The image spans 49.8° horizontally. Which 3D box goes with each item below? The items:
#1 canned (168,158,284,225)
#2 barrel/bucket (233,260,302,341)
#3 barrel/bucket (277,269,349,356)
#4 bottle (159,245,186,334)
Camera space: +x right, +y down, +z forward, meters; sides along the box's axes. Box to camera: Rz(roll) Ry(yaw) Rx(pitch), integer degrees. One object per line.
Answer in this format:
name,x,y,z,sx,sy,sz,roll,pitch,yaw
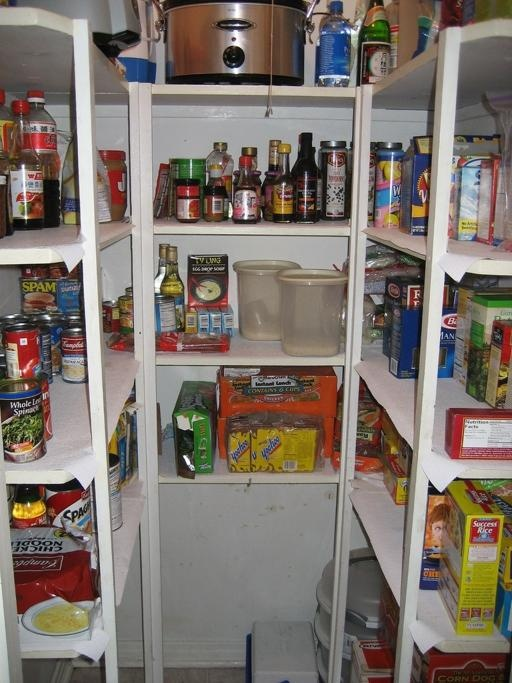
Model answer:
canned,-0.114,-0.409,1.496,0.254,0.172,0.177,-1,13,0
barrel/bucket,0.007,-0.133,1.680,0.213,0.233,0.221,1,20,-1
barrel/bucket,0.118,-0.092,1.520,0.210,0.231,0.218,0,14,0
bottle,-0.250,-0.137,1.629,0.077,0.299,0.078,2,15,-1
